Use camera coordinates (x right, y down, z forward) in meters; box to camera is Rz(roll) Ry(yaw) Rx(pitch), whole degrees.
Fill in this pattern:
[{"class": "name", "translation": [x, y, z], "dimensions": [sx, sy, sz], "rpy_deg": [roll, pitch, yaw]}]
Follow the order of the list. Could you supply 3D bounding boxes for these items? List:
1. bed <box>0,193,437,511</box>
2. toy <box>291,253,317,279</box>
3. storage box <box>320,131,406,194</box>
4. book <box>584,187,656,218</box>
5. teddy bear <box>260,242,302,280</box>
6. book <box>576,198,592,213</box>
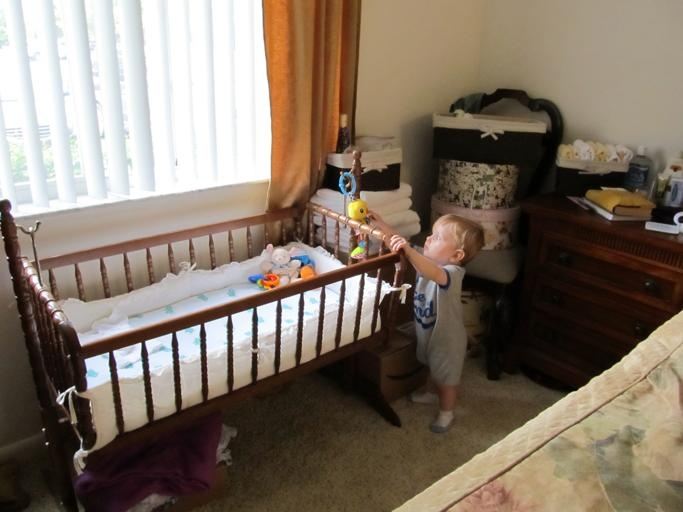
[{"class": "bed", "translation": [-0.445, 0.208, 2.376], "dimensions": [1.552, 1.089, 0.978], "rpy_deg": [-25, 48, -34]}, {"class": "toy", "translation": [-0.174, 0.060, 2.592], "dimensions": [0.112, 0.055, 0.128], "rpy_deg": [-25, 62, 13]}, {"class": "storage box", "translation": [0.122, -0.490, 2.666], "dimensions": [0.319, 0.198, 0.316], "rpy_deg": [-16, 30, -29]}, {"class": "book", "translation": [1.228, -0.233, 2.456], "dimensions": [0.154, 0.060, 0.199], "rpy_deg": [-5, 20, -10]}, {"class": "teddy bear", "translation": [-0.289, 0.028, 2.619], "dimensions": [0.205, 0.223, 0.153], "rpy_deg": [-4, 16, -21]}, {"class": "book", "translation": [1.135, -0.235, 2.573], "dimensions": [0.025, 0.022, 0.077], "rpy_deg": [-11, 27, 11]}]
